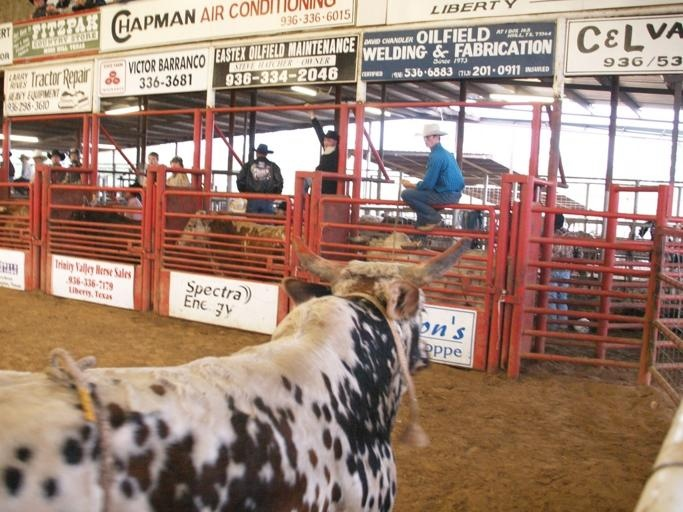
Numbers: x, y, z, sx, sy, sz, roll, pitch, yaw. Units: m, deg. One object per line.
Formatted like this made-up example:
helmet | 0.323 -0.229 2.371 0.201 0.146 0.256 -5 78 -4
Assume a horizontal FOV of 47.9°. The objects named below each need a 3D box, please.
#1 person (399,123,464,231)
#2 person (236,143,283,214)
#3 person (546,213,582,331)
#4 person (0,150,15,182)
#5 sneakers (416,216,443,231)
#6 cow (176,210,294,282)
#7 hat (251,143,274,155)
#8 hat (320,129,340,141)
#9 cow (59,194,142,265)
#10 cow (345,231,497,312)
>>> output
person | 1.097 -0.981 9.168 0.712 1.168 0.859 4 14 10
person | -1.250 -0.885 11.870 0.636 1.711 0.503 2 -16 -6
person | 2.853 0.241 9.875 0.400 1.741 0.847 -2 3 6
person | -7.099 -1.921 16.277 0.266 0.770 1.539 -5 16 -24
sneakers | 1.041 -0.394 9.007 0.367 0.141 0.168 -2 -25 21
cow | -1.493 -0.174 10.533 1.411 0.624 0.979 6 18 17
hat | -1.214 -1.681 11.910 0.185 0.094 0.229 21 -1 -7
hat | -0.155 -1.800 11.256 0.234 0.117 0.286 2 9 -7
cow | -3.686 -0.350 11.923 1.103 1.271 0.325 4 -15 11
cow | 0.787 0.139 7.171 1.502 1.175 0.459 -1 26 8
